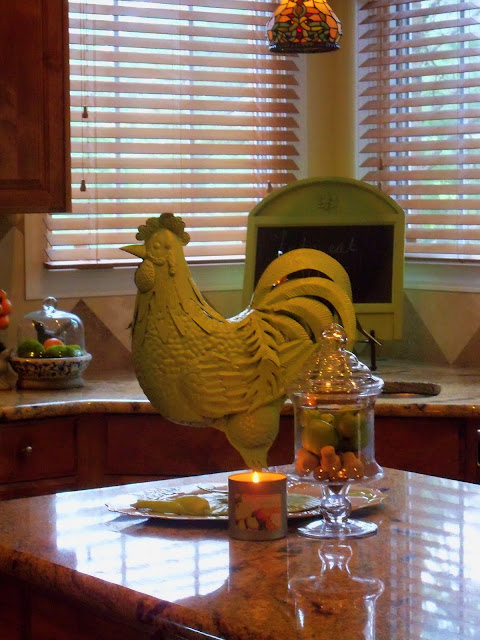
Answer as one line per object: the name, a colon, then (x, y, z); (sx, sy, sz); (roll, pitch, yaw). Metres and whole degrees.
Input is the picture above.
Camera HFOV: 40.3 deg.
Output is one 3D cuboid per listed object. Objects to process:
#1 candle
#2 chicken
candle: (0.020, 0.219, 0.762); (0.080, 0.070, 0.067); (-1, -1, 7)
chicken: (0.022, 0.013, 1.017); (0.449, 0.389, 0.271); (1, 12, 4)
